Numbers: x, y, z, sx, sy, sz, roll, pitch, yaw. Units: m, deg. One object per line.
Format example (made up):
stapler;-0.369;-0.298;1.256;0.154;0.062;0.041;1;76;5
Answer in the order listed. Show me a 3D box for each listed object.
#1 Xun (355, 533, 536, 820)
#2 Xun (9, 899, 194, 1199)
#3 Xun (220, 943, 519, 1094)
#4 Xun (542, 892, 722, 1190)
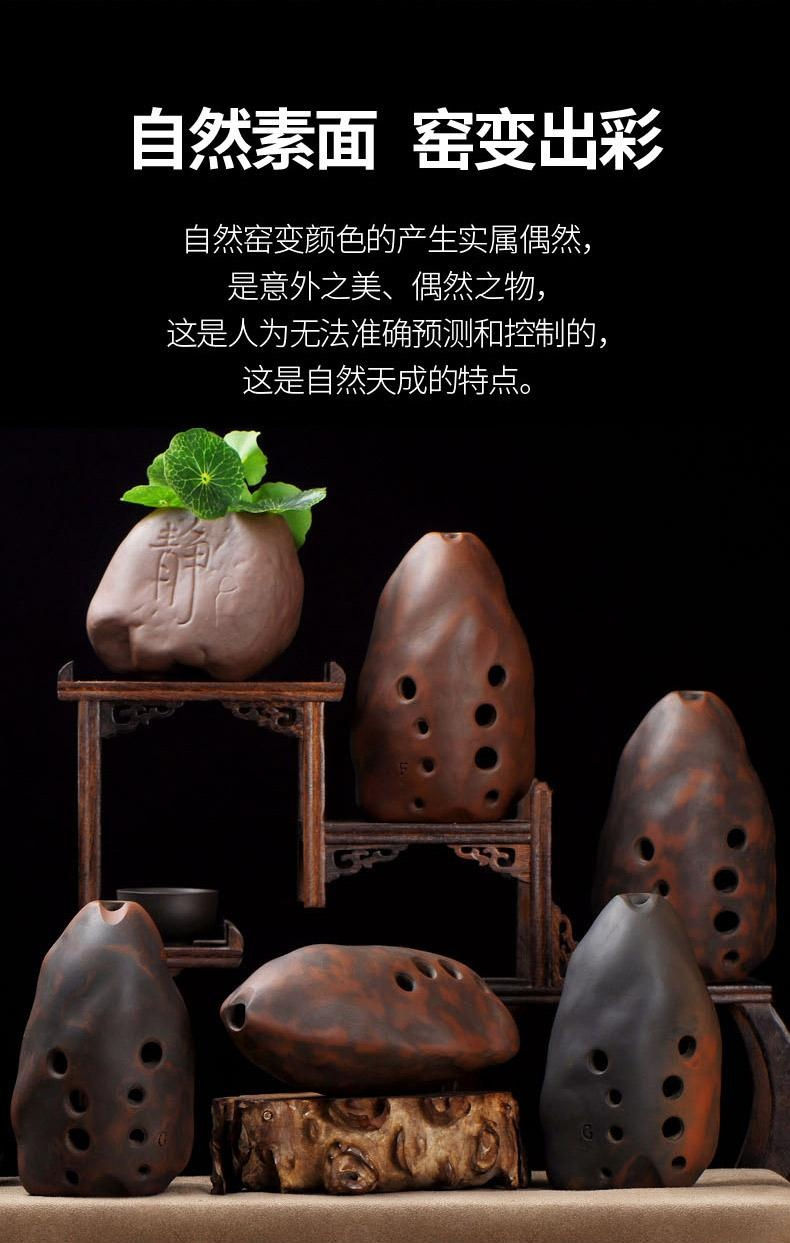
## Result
Xun;0.064;0.064;1.877;0.240;0.359;0.213;-2;8;-9
Xun;-0.299;0.444;1.484;0.168;0.292;0.119;2;4;16
Xun;-0.019;0.414;1.511;0.311;0.146;0.110;-1;4;-26
Xun;0.247;0.454;1.538;0.153;0.305;0.134;4;5;41
